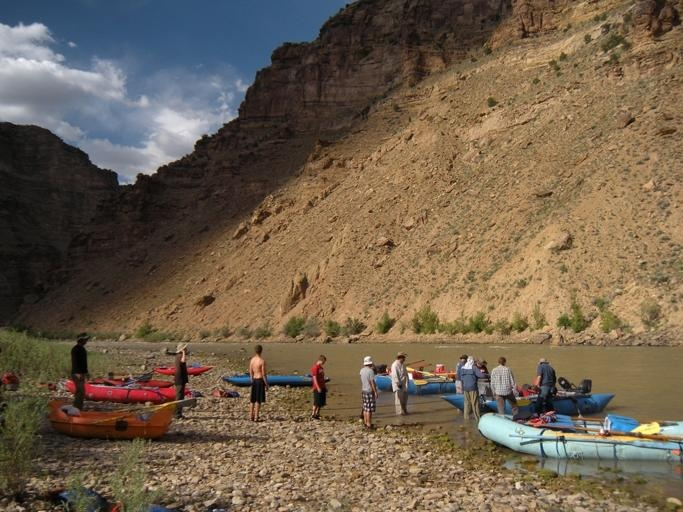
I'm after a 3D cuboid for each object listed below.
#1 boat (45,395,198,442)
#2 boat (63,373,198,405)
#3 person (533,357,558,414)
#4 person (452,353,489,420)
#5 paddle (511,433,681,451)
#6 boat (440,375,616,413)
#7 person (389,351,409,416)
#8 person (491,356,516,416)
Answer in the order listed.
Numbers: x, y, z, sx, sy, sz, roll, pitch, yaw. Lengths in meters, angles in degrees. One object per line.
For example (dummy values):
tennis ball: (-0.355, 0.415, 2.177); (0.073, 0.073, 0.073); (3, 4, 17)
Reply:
boat: (-7.823, 5.661, 23.813); (4.412, 1.154, 1.884); (0, -6, 2)
boat: (-7.680, 5.220, 26.547); (5.947, 0.895, 1.828); (1, -6, 4)
person: (7.553, 4.782, 25.520); (0.721, 1.991, 1.008); (5, 12, 15)
person: (4.801, 4.973, 25.944); (0.943, 2.376, 1.502); (2, 11, 5)
paddle: (8.668, 6.137, 22.869); (4.336, 0.427, 0.709); (0, -5, 2)
boat: (7.306, 5.506, 26.267); (6.479, 1.153, 2.176); (1, -12, -4)
person: (2.252, 4.901, 26.593); (0.663, 2.544, 0.715); (3, 12, 6)
person: (5.910, 4.714, 25.080); (0.991, 2.074, 1.072); (4, 11, 11)
